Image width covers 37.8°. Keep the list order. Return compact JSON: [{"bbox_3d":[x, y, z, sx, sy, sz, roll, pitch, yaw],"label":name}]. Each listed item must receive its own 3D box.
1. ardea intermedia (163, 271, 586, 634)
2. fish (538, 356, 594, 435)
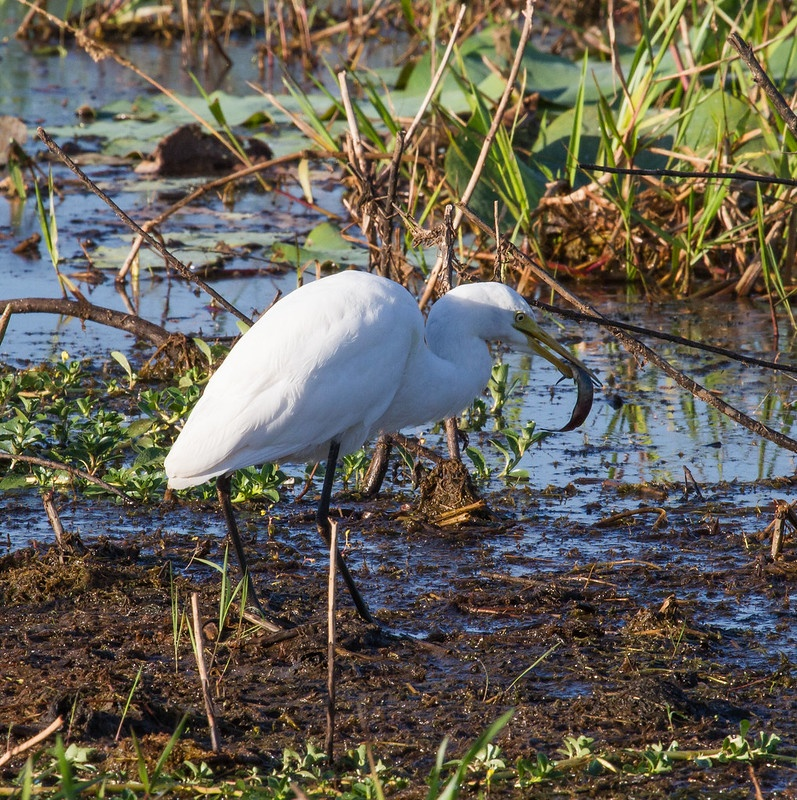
[{"bbox_3d":[-0.058,0.125,3.467,1.587,0.971,0.408,0,3,-34],"label":"ardea intermedia"},{"bbox_3d":[0.551,-0.008,3.636,0.063,0.180,0.156,20,-3,-7],"label":"fish"}]
